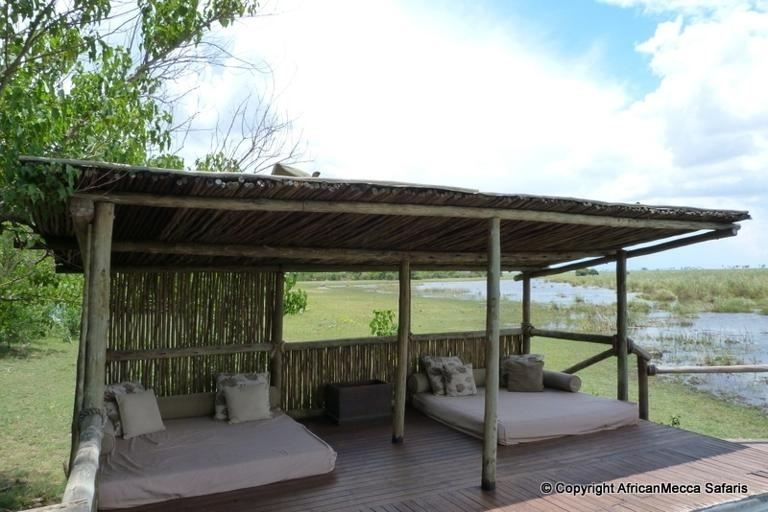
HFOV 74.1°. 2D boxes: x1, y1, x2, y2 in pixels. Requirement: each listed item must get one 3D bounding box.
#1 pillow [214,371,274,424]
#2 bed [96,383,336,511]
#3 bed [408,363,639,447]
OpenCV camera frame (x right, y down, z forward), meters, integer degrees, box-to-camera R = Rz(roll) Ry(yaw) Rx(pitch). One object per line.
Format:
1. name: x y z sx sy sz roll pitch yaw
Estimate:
1. pillow: -2.246 2.305 8.525 1.410 0.989 0.637 1 -25 -13
2. bed: -2.476 2.711 7.287 2.814 0.458 1.652 -2 12 -20
3. bed: 2.458 2.601 9.211 3.210 0.723 2.312 -2 12 -20
